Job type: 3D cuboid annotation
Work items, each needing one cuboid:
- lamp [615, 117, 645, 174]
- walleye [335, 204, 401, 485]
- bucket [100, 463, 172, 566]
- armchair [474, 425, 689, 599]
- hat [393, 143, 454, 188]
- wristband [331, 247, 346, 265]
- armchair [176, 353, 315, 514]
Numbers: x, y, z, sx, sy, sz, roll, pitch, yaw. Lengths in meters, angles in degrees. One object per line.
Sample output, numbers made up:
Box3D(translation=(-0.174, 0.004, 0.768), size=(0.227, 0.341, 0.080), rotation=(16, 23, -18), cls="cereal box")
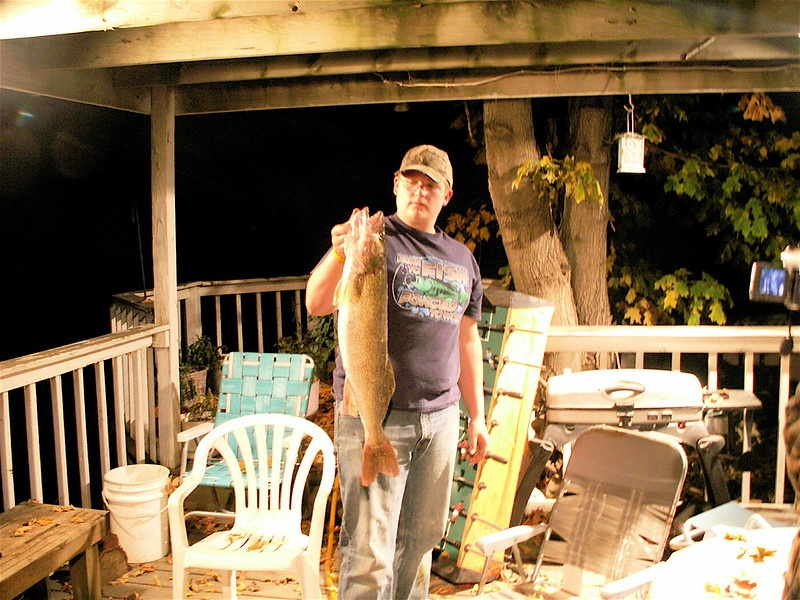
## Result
Box3D(translation=(1.939, -1.294, 6.978), size=(0.291, 0.429, 0.309), rotation=(0, 3, 1), cls="lamp")
Box3D(translation=(-0.192, 0.196, 4.468), size=(0.445, 1.750, 0.278), rotation=(-2, 5, -21), cls="walleye")
Box3D(translation=(-1.990, 1.635, 6.350), size=(0.571, 0.721, 0.642), rotation=(0, 0, -1), cls="bucket")
Box3D(translation=(1.280, 1.139, 5.828), size=(1.023, 1.850, 1.190), rotation=(9, 4, 43), cls="armchair")
Box3D(translation=(0.137, -0.788, 4.735), size=(0.328, 0.259, 0.237), rotation=(1, 1, -2), cls="hat")
Box3D(translation=(-0.335, -0.242, 4.464), size=(0.072, 0.079, 0.063), rotation=(18, -36, 15), cls="wristband")
Box3D(translation=(-1.175, 1.121, 7.032), size=(1.050, 1.774, 1.254), rotation=(2, -8, 4), cls="armchair")
